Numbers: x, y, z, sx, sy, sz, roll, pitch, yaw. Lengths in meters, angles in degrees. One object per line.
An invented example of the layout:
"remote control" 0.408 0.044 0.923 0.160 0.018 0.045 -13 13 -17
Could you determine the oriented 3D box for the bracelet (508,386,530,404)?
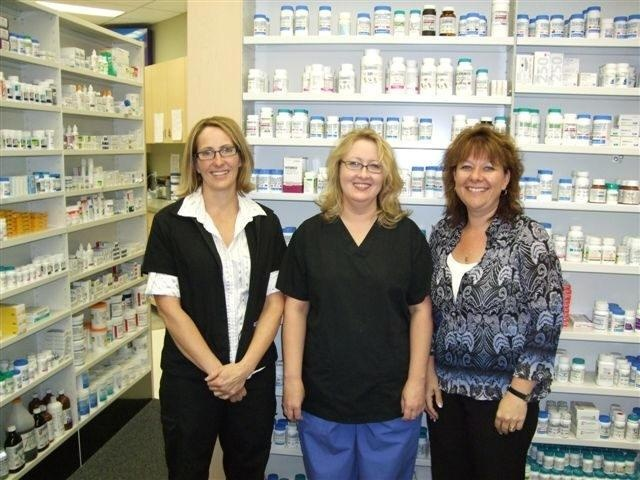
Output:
"bracelet" 0.905 0.705 2.415 0.071 0.022 0.070 37 -6 -25
